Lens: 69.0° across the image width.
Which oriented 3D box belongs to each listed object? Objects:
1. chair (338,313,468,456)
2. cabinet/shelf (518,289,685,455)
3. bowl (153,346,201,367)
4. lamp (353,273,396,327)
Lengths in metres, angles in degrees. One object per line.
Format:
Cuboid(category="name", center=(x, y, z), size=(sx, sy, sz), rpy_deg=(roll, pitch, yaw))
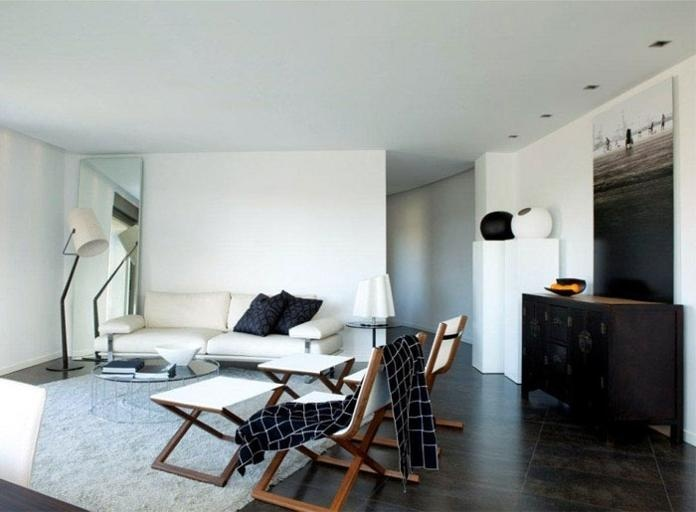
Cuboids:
Cuboid(category="chair", center=(0.347, 0.991, 4.233), size=(1.156, 1.379, 0.939), rpy_deg=(-2, -10, 25))
Cuboid(category="cabinet/shelf", center=(2.254, 0.954, 4.922), size=(0.998, 1.431, 1.753), rpy_deg=(2, -6, -5))
Cuboid(category="bowl", center=(-1.575, 0.909, 4.639), size=(0.265, 0.102, 0.263), rpy_deg=(-1, -4, 0))
Cuboid(category="lamp", center=(0.277, 0.503, 6.174), size=(0.730, 0.749, 0.598), rpy_deg=(1, 1, -5))
